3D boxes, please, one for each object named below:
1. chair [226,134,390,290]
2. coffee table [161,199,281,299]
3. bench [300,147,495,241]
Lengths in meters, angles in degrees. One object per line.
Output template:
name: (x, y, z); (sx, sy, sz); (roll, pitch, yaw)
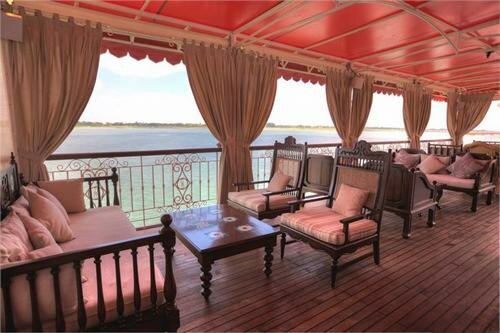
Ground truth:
chair: (0.978, 0.440, 5.477); (2.000, 2.580, 1.944); (-7, 11, -37)
coffee table: (-0.416, 0.891, 4.193); (1.230, 0.664, 1.567); (-4, 15, -33)
bench: (3.313, 0.366, 6.435); (2.618, 1.571, 1.590); (-3, 8, -29)
